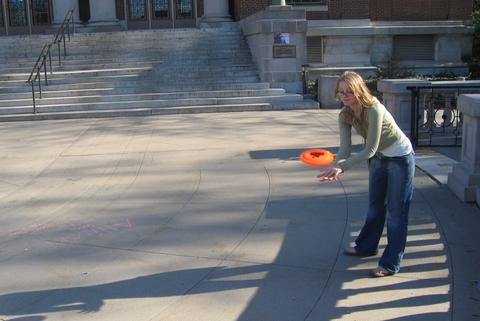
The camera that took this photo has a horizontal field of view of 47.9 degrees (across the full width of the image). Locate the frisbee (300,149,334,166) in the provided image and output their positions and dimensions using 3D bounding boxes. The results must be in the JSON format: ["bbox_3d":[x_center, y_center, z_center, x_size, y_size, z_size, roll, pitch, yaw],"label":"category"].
[{"bbox_3d":[1.061,-0.021,7.407,0.437,0.191,0.471,1,11,16],"label":"frisbee"}]
